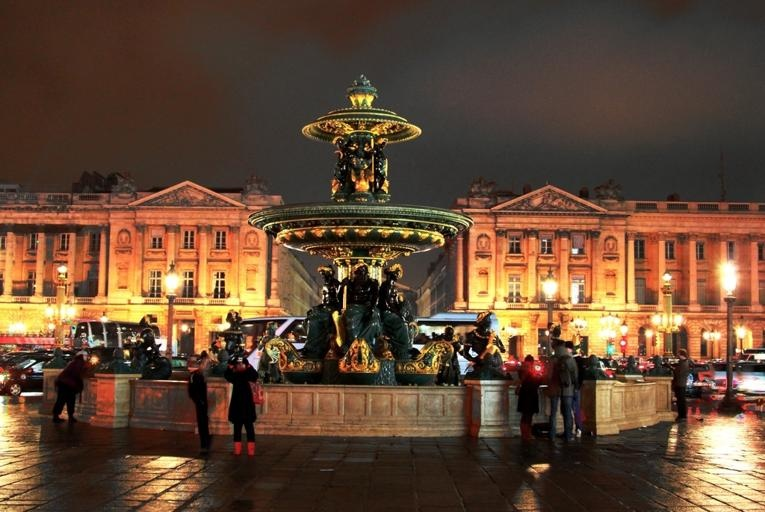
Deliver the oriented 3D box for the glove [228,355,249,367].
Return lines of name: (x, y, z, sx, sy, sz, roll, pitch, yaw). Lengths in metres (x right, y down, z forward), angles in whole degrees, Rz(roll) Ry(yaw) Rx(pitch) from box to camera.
glove: (-3.110, 2.242, 20.708, 0.491, 0.223, 0.655, 2, -6, -9)

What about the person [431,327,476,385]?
person: (1.445, 2.336, 23.275, 1.165, 1.683, 0.615, 2, 38, 5)

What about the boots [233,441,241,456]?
boots: (-2.880, 3.772, 19.163, 0.143, 0.270, 0.240, 0, 0, -15)

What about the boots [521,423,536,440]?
boots: (3.232, 3.870, 21.419, 0.376, 0.330, 0.202, 3, -1, -41)

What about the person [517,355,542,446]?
person: (3.187, 3.151, 21.601, 0.503, 1.154, 0.614, 0, 0, -13)

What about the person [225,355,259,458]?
person: (-2.843, 2.990, 19.281, 0.598, 1.834, 0.655, 0, 0, -5)

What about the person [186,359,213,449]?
person: (-3.850, 3.174, 20.439, 0.600, 2.026, 0.685, 0, -43, -13)
